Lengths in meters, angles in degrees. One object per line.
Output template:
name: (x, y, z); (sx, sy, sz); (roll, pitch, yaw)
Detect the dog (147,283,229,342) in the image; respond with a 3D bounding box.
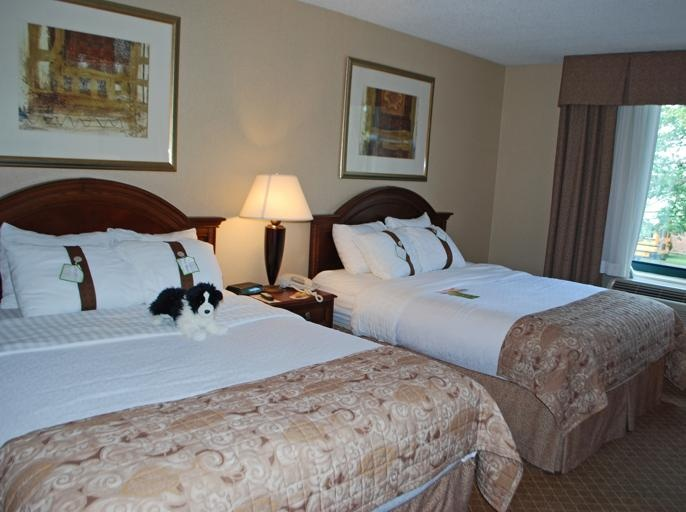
dog: (-0.923, 0.290, 2.782); (0.473, 0.280, 0.302); (14, 13, 27)

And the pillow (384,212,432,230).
pillow: (0.698, -0.359, 5.008); (0.308, 0.097, 0.267); (-1, 31, -33)

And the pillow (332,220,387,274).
pillow: (0.103, -0.082, 4.436); (0.501, 0.479, 0.144); (1, -9, -37)

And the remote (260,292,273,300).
remote: (-0.622, 0.326, 3.778); (0.050, 0.023, 0.090); (-4, 14, -29)

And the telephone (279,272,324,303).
telephone: (-0.384, 0.246, 4.122); (0.333, 0.115, 0.229); (21, 9, 24)
